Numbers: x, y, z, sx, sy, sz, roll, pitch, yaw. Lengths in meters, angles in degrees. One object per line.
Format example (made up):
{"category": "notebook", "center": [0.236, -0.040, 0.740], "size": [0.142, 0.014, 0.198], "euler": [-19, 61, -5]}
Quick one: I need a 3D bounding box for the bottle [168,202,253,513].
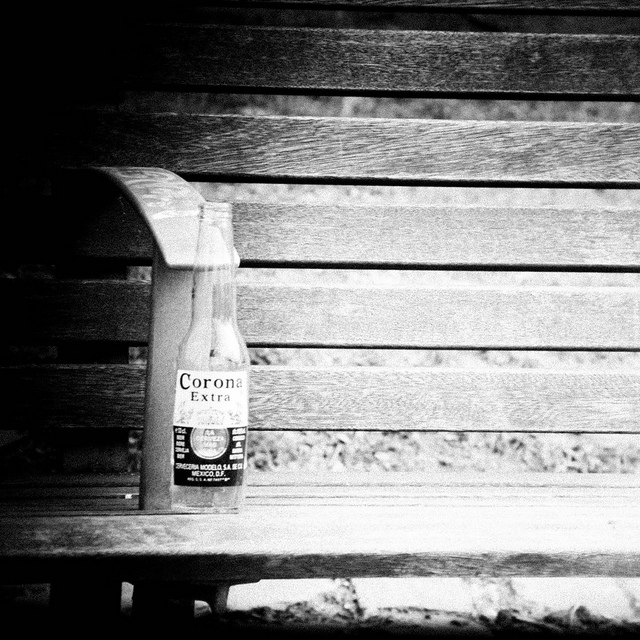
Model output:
{"category": "bottle", "center": [-0.132, 0.044, 1.242], "size": [0.091, 0.365, 0.124], "euler": [0, 10, -6]}
